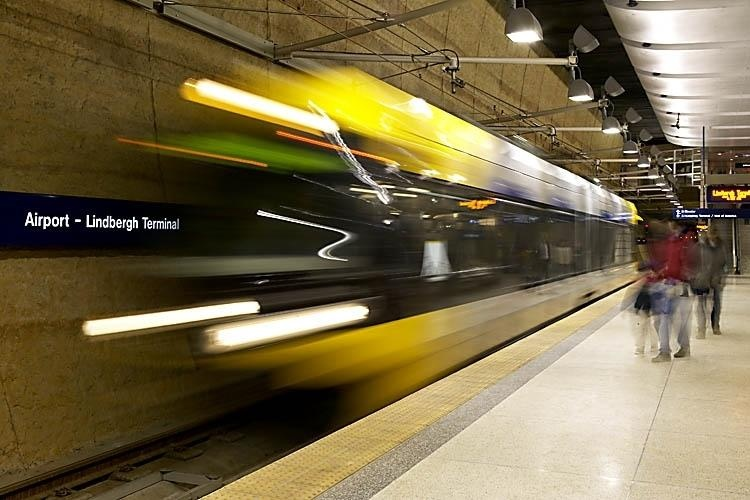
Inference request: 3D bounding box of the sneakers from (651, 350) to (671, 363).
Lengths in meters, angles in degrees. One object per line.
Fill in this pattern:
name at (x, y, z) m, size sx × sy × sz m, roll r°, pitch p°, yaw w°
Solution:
sneakers at (4.239, 1.563, 6.689) m, size 0.321 × 0.207 × 0.122 m, roll 3°, pitch -6°, yaw 10°
